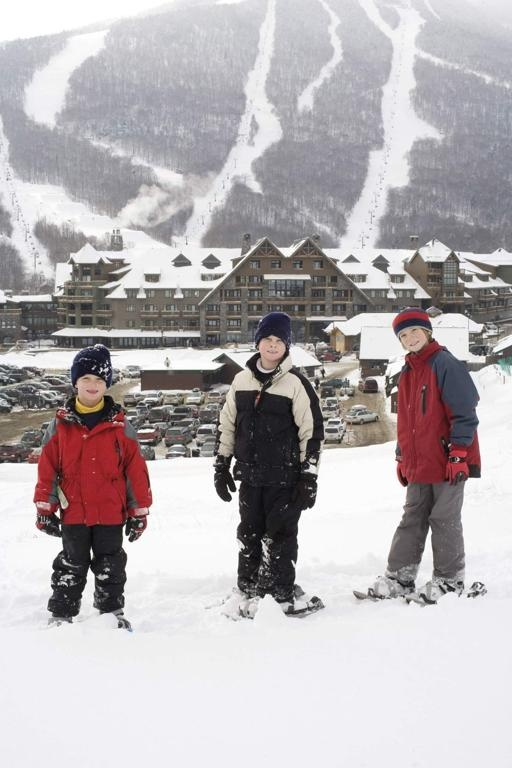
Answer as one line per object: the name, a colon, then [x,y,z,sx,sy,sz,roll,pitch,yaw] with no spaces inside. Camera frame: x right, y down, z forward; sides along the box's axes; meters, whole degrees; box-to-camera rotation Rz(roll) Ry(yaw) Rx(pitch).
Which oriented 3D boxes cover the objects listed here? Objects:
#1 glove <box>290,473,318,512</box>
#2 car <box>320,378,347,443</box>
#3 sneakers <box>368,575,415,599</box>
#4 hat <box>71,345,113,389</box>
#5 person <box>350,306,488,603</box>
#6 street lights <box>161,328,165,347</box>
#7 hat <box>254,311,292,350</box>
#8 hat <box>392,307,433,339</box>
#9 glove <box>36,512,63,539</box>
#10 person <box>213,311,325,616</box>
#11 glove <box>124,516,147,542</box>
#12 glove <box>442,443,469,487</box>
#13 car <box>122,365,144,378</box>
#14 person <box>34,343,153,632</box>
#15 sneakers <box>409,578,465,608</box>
glove: [0.305,0.664,6.421,0.172,0.231,0.158,0,0,-22]
car: [2.525,1.149,35.278,0.928,1.065,3.701,-2,8,6]
sneakers: [0.835,1.253,6.447,0.212,0.082,0.130,0,0,-3]
hat: [-1.018,-0.108,6.491,0.214,0.247,0.296,7,3,-10]
person: [1.060,0.414,6.464,0.670,1.782,0.619,-1,-1,36]
street lights: [-6.400,-3.015,71.464,0.287,1.051,0.796,0,0,-8]
hat: [0.119,-0.342,6.710,0.192,0.219,0.229,10,4,-8]
hat: [1.015,-0.400,6.672,0.197,0.168,0.201,1,-4,-6]
glove: [-1.228,0.825,6.236,0.142,0.144,0.063,13,18,-5]
person: [0.121,0.463,6.486,0.582,1.815,0.581,-1,-1,4]
glove: [-0.728,0.902,6.381,0.148,0.153,0.069,-5,-21,16]
glove: [1.206,0.485,6.197,0.155,0.213,0.088,0,5,3]
car: [-6.555,-0.624,55.047,0.808,0.623,1.844,6,14,-1]
person: [-0.985,0.596,6.330,0.671,1.616,0.316,0,-1,-8]
sneakers: [1.087,1.236,6.218,0.337,0.166,0.141,-11,4,1]
